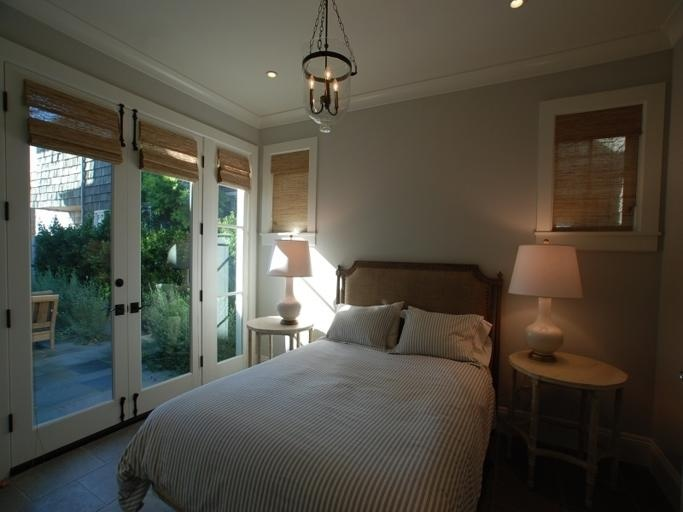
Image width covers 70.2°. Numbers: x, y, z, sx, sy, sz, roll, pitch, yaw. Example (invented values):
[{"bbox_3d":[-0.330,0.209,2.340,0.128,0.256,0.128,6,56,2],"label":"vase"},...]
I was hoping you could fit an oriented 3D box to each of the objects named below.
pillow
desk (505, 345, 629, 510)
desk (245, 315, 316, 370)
[{"bbox_3d":[0.603,0.693,4.387,1.422,0.482,0.450,-1,1,22],"label":"pillow"},{"bbox_3d":[1.797,1.269,4.033,0.894,1.121,0.967,-2,6,-2],"label":"desk"},{"bbox_3d":[-0.647,0.988,4.910,0.423,0.546,0.458,1,0,5],"label":"desk"}]
